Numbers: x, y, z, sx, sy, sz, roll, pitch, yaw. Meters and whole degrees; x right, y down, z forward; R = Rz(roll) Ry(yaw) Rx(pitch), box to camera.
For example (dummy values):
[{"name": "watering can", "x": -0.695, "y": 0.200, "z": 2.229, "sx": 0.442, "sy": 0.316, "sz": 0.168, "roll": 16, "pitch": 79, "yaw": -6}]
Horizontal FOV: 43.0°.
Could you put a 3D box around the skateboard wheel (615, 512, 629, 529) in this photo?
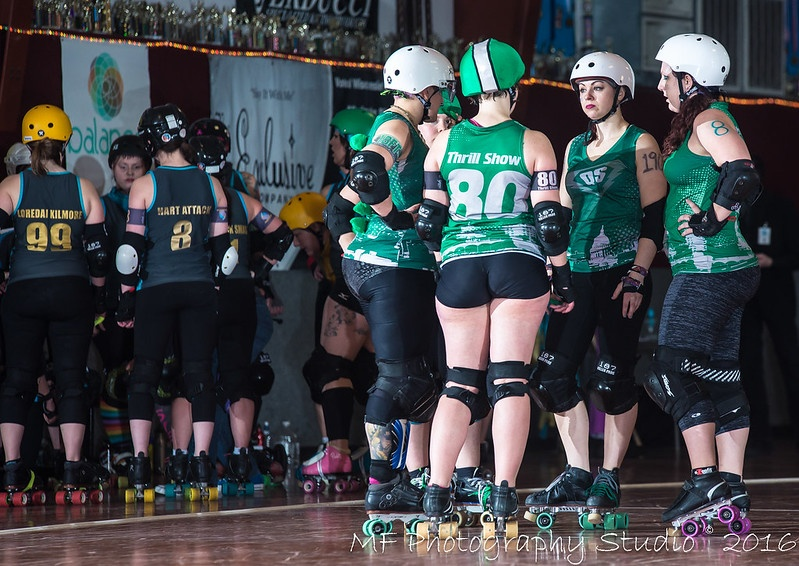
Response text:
[{"name": "skateboard wheel", "x": 1.346, "y": 1.448, "z": 6.143, "sx": 0.081, "sy": 0.077, "sz": 0.069, "roll": 4, "pitch": -22, "yaw": 8}]

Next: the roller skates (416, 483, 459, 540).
[{"name": "roller skates", "x": 0.210, "y": 1.321, "z": 5.873, "sx": 0.246, "sy": 0.329, "sz": 0.180, "roll": 0, "pitch": -3, "yaw": 1}]

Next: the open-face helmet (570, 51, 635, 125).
[{"name": "open-face helmet", "x": 1.350, "y": -1.267, "z": 6.673, "sx": 0.419, "sy": 0.530, "sz": 0.375, "roll": -1, "pitch": 0, "yaw": -26}]

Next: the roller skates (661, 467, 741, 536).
[{"name": "roller skates", "x": 1.756, "y": 1.280, "z": 6.019, "sx": 0.407, "sy": 0.347, "sz": 0.236, "roll": -16, "pitch": 9, "yaw": 7}]

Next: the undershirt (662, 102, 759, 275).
[{"name": "undershirt", "x": 1.875, "y": -0.663, "z": 6.113, "sx": 0.465, "sy": 1.114, "sz": 0.531, "roll": 7, "pitch": 34, "yaw": 29}]

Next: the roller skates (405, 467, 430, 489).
[{"name": "roller skates", "x": 0.114, "y": 1.259, "z": 6.472, "sx": 0.057, "sy": 0.091, "sz": 0.176, "roll": 2, "pitch": 4, "yaw": 11}]

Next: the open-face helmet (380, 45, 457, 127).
[{"name": "open-face helmet", "x": 0.125, "y": -1.254, "z": 6.445, "sx": 0.431, "sy": 0.492, "sz": 0.374, "roll": -5, "pitch": 10, "yaw": -11}]

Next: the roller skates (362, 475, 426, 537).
[{"name": "roller skates", "x": -0.030, "y": 1.344, "z": 6.048, "sx": 0.296, "sy": 0.327, "sz": 0.126, "roll": 1, "pitch": -7, "yaw": -10}]

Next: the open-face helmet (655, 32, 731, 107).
[{"name": "open-face helmet", "x": 1.848, "y": -1.356, "z": 6.370, "sx": 0.390, "sy": 0.438, "sz": 0.346, "roll": 6, "pitch": 9, "yaw": 23}]

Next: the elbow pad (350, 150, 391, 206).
[{"name": "elbow pad", "x": -0.166, "y": -0.612, "z": 5.933, "sx": 0.133, "sy": 0.301, "sz": 0.209, "roll": -37, "pitch": 30, "yaw": -25}]

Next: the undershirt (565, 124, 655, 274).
[{"name": "undershirt", "x": 1.315, "y": -0.539, "z": 6.652, "sx": 0.515, "sy": 1.046, "sz": 0.391, "roll": -8, "pitch": -18, "yaw": 40}]

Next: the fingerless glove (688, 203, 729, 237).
[{"name": "fingerless glove", "x": 1.803, "y": -0.357, "z": 5.963, "sx": 0.146, "sy": 0.213, "sz": 0.105, "roll": 35, "pitch": -13, "yaw": 37}]

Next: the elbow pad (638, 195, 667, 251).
[{"name": "elbow pad", "x": 1.603, "y": -0.392, "z": 6.454, "sx": 0.090, "sy": 0.302, "sz": 0.201, "roll": 3, "pitch": -5, "yaw": -6}]

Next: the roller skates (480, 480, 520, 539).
[{"name": "roller skates", "x": 0.576, "y": 1.320, "z": 5.936, "sx": 0.139, "sy": 0.277, "sz": 0.432, "roll": 0, "pitch": 0, "yaw": 2}]

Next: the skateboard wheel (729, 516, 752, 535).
[{"name": "skateboard wheel", "x": 1.996, "y": 1.421, "z": 5.934, "sx": 0.144, "sy": 0.097, "sz": 0.101, "roll": 0, "pitch": -3, "yaw": -1}]

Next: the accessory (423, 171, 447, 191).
[{"name": "accessory", "x": 0.199, "y": -0.595, "z": 5.949, "sx": 0.097, "sy": 0.100, "sz": 0.113, "roll": 0, "pitch": 3, "yaw": 7}]

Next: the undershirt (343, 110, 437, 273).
[{"name": "undershirt", "x": 0.016, "y": -0.592, "z": 6.604, "sx": 0.695, "sy": 1.279, "sz": 0.859, "roll": 5, "pitch": -1, "yaw": -4}]

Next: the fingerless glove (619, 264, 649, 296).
[{"name": "fingerless glove", "x": 1.470, "y": -0.011, "z": 6.366, "sx": 0.131, "sy": 0.204, "sz": 0.074, "roll": 24, "pitch": 5, "yaw": 27}]

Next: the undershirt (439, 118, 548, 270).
[{"name": "undershirt", "x": 0.511, "y": -0.621, "z": 5.965, "sx": 0.741, "sy": 0.876, "sz": 0.474, "roll": -2, "pitch": 29, "yaw": 0}]

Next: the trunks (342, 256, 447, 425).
[{"name": "trunks", "x": -0.011, "y": 0.593, "z": 6.321, "sx": 0.581, "sy": 1.257, "sz": 0.801, "roll": -8, "pitch": -27, "yaw": 9}]

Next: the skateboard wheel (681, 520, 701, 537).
[{"name": "skateboard wheel", "x": 1.687, "y": 1.424, "z": 5.873, "sx": 0.079, "sy": 0.104, "sz": 0.098, "roll": 7, "pitch": -2, "yaw": 34}]

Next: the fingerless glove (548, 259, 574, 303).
[{"name": "fingerless glove", "x": 0.948, "y": 0.008, "z": 6.012, "sx": 0.122, "sy": 0.229, "sz": 0.222, "roll": -5, "pitch": -3, "yaw": -4}]

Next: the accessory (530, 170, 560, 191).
[{"name": "accessory", "x": 0.837, "y": -0.592, "z": 5.830, "sx": 0.109, "sy": 0.103, "sz": 0.119, "roll": 3, "pitch": 7, "yaw": 15}]
